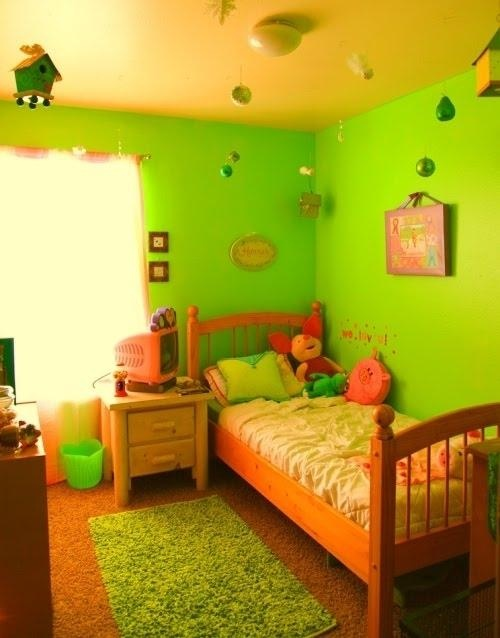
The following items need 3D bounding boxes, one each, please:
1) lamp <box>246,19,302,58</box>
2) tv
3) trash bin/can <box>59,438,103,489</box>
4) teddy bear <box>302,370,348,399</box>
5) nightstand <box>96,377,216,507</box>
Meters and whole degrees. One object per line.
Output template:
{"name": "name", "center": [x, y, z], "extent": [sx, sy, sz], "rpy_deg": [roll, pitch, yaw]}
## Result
{"name": "lamp", "center": [0.097, -1.119, 2.094], "extent": [0.198, 0.060, 0.198], "rpy_deg": [1, 4, 17]}
{"name": "tv", "center": [-0.594, 0.183, 3.088], "extent": [0.314, 0.297, 0.326], "rpy_deg": [2, 5, 10]}
{"name": "trash bin/can", "center": [-0.996, 0.862, 3.143], "extent": [0.245, 0.207, 0.239], "rpy_deg": [0, -1, -39]}
{"name": "teddy bear", "center": [0.495, 0.444, 3.427], "extent": [0.210, 0.088, 0.164], "rpy_deg": [-17, 15, 10]}
{"name": "nightstand", "center": [-0.581, 0.662, 3.146], "extent": [0.617, 0.605, 0.612], "rpy_deg": [-1, 3, -21]}
